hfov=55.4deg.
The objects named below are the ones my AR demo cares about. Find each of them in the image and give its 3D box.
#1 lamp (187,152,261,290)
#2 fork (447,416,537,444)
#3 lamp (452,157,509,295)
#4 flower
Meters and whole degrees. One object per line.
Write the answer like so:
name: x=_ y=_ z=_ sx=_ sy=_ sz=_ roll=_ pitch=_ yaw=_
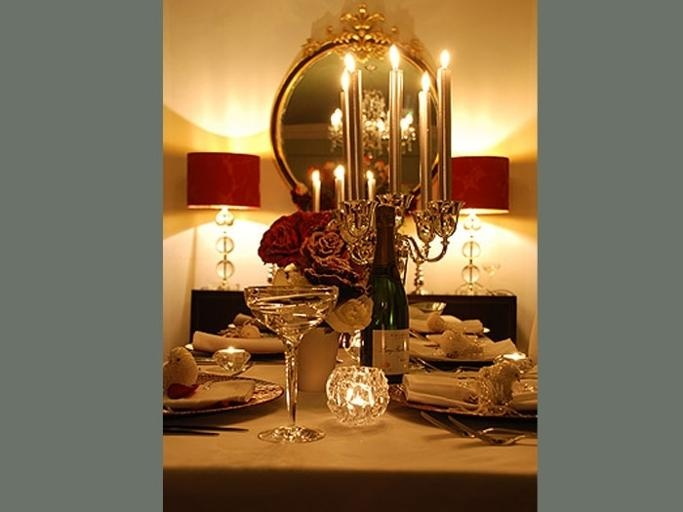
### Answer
lamp: x=-0.399 y=-0.123 z=2.188 sx=0.240 sy=0.452 sz=0.174 roll=1 pitch=1 yaw=-13
fork: x=0.195 y=0.222 z=0.834 sx=0.020 sy=0.027 sz=0.133 roll=-3 pitch=-1 yaw=-36
lamp: x=0.413 y=-0.095 z=1.933 sx=0.165 sy=0.290 sz=0.295 roll=1 pitch=1 yaw=14
flower: x=-0.016 y=0.056 z=1.076 sx=0.203 sy=0.204 sz=0.202 roll=2 pitch=-14 yaw=1
